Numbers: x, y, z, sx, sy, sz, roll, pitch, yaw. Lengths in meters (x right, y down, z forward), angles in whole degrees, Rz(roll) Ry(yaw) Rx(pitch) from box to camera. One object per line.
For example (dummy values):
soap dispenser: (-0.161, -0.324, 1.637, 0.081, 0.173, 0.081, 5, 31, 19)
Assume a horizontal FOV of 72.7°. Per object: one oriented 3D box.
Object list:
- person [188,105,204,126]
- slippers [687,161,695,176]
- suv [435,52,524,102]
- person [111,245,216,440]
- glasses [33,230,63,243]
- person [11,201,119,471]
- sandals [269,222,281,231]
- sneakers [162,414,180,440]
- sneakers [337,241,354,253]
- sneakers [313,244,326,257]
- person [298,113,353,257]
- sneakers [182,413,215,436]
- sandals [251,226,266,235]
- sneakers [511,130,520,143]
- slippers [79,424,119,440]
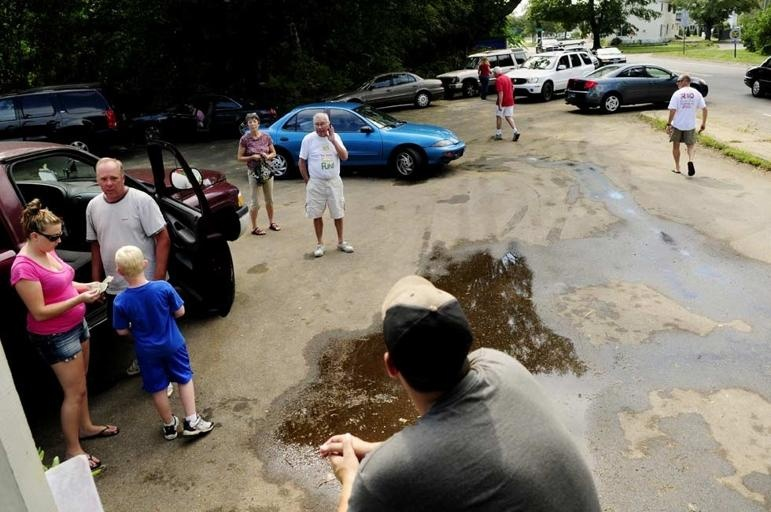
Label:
person: (-6.512, -5.023, 18.472, 0.676, 0.752, 0.350, 9, 25, 36)
slippers: (6.412, -1.897, 11.013, 0.144, 0.325, 0.458, 6, 24, 31)
suv: (4.891, -9.085, 26.595, 4.801, 2.275, 2.264, -22, 27, -33)
person: (-2.076, 0.821, 4.900, 0.684, 1.869, 0.478, 2, 21, 20)
glasses: (-2.873, -0.183, 4.489, 0.112, 0.037, 0.114, 12, 12, -4)
person: (-2.826, 0.700, 4.657, 0.622, 2.372, 0.724, -8, 20, -5)
sandals: (-2.007, -0.568, 9.695, 0.104, 0.095, 0.222, -18, 17, -41)
sneakers: (-2.037, 1.655, 5.066, 0.094, 0.123, 0.274, -2, 14, -3)
sneakers: (-0.630, -0.171, 8.574, 0.269, 0.123, 0.127, 7, 21, 35)
sneakers: (-1.050, -0.108, 8.459, 0.109, 0.117, 0.260, -1, 8, 3)
person: (-0.922, -1.149, 8.344, 0.753, 2.189, 0.548, -8, 20, -4)
sneakers: (-1.783, 1.612, 5.100, 0.352, 0.193, 0.138, 1, 16, -36)
sandals: (-2.269, -0.490, 9.517, 0.232, 0.115, 0.135, 6, 16, 34)
sneakers: (3.861, -3.538, 15.241, 0.157, 0.299, 0.418, -6, -6, 0)
slippers: (-2.728, 1.703, 5.039, 0.269, 0.071, 0.142, -4, 16, -11)
